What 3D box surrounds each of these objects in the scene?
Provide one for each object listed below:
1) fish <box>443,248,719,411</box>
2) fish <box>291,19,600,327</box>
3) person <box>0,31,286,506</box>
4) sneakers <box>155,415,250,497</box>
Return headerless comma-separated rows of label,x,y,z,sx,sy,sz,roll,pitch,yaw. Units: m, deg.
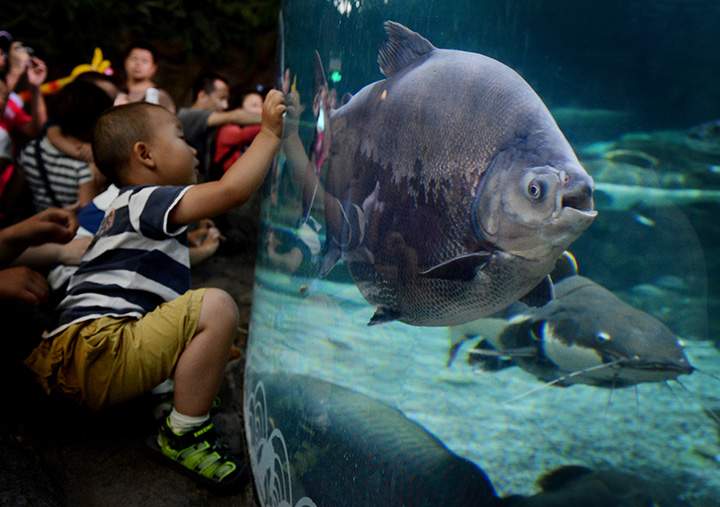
fish,0.395,0.126,1.205,0.233,0.166,0.335,6,-1,-39
fish,0.081,-0.167,1.467,0.877,0.593,0.239,8,10,43
person,-0.751,-0.011,2.623,1.025,1.496,1.255,-2,10,-34
sneakers,-0.505,0.643,2.200,0.304,0.150,0.172,21,16,11
